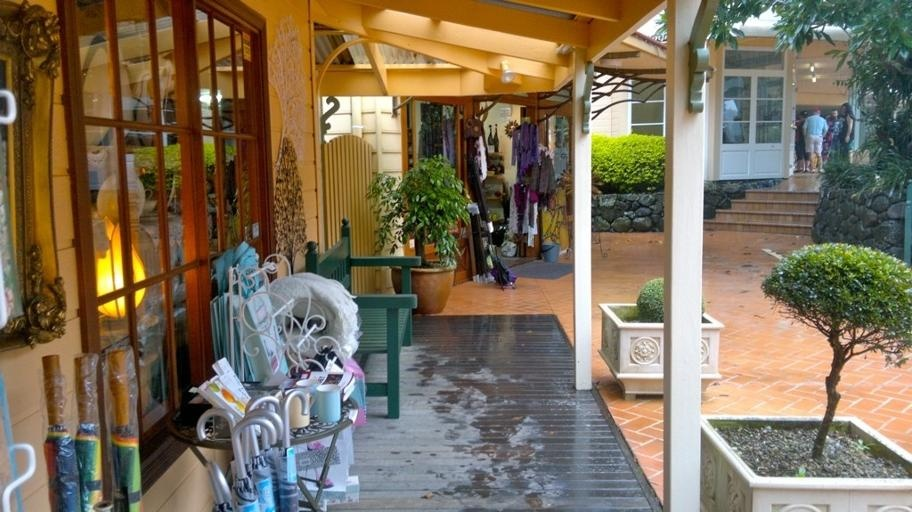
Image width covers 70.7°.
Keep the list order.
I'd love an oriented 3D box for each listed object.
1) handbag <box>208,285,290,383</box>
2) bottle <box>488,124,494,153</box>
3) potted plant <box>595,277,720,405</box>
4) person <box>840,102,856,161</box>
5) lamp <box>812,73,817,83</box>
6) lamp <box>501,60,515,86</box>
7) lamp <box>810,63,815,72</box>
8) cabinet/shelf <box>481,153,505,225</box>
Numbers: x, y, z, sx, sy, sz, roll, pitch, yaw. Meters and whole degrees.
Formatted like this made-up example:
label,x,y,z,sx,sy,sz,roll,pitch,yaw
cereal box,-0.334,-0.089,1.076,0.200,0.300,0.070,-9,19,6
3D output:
label,x,y,z,sx,sy,sz,roll,pitch,yaw
handbag,-1.382,0.528,4.239,0.358,0.612,0.608,-11,1,0
bottle,0.770,-2.523,13.666,0.098,0.546,0.301,4,13,22
potted plant,2.086,0.882,6.513,1.094,1.250,1.837,-1,6,0
person,11.712,-3.910,19.350,0.432,1.448,1.544,6,14,30
lamp,12.761,-6.400,22.994,0.199,0.231,1.299,6,13,27
lamp,0.588,-2.167,7.444,0.137,0.236,0.367,1,12,5
lamp,12.578,-6.718,22.761,0.168,0.254,0.389,6,14,30
cabinet/shelf,0.869,-1.459,13.617,0.538,1.383,0.693,-4,12,-17
